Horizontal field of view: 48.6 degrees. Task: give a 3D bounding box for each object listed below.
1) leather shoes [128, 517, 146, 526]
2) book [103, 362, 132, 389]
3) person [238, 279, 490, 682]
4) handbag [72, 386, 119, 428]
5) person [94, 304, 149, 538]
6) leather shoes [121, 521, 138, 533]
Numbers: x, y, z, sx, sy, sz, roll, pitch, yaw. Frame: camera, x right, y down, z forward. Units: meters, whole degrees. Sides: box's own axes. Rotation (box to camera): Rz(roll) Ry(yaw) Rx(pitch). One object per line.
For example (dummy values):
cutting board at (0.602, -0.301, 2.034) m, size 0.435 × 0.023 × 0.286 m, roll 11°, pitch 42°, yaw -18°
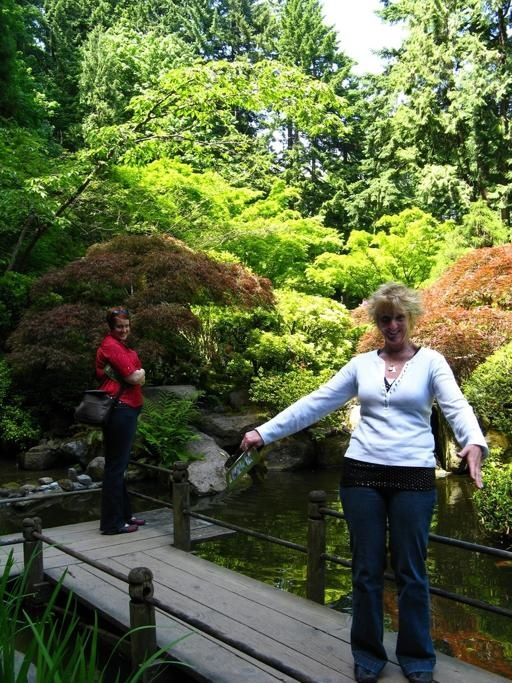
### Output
leather shoes at (-0.878, 1.336, 4.205) m, size 0.144 × 0.050 × 0.047 m, roll 1°, pitch 5°, yaw -15°
book at (-0.904, 0.232, 3.750) m, size 0.160 × 0.042 × 0.159 m, roll 41°, pitch -28°, yaw -10°
person at (0.415, 0.489, 1.991) m, size 0.794 × 1.396 × 0.332 m, roll -2°, pitch -7°, yaw 34°
handbag at (-1.033, 0.427, 3.635) m, size 0.256 × 0.226 × 0.172 m, roll 1°, pitch -6°, yaw 8°
person at (-0.943, 0.566, 3.883) m, size 0.324 × 1.560 × 0.557 m, roll 3°, pitch -6°, yaw -10°
leather shoes at (-0.903, 1.323, 4.059) m, size 0.044 × 0.045 × 0.121 m, roll 8°, pitch 9°, yaw 32°
